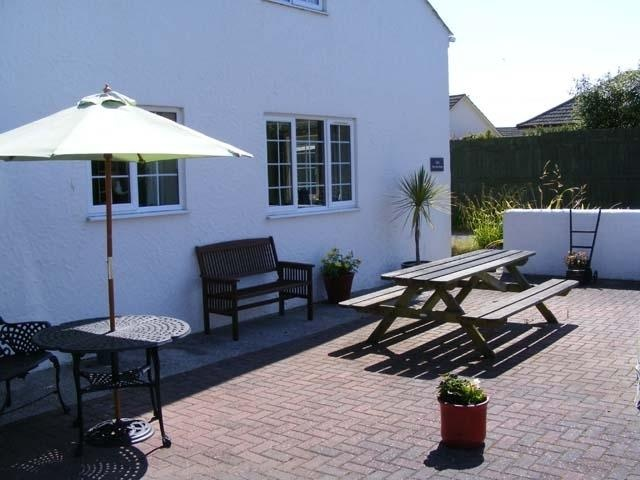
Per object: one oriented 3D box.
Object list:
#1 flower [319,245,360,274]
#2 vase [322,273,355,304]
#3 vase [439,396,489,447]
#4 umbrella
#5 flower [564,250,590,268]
[{"bbox_3d":[0.290,0.380,9.512,0.513,0.369,0.503,-1,5,-28],"label":"flower"},{"bbox_3d":[0.319,0.820,9.271,0.503,0.433,0.529,0,-2,-4],"label":"vase"},{"bbox_3d":[1.180,1.510,4.534,0.440,0.349,0.435,2,-10,-21],"label":"vase"},{"bbox_3d":[-1.584,0.013,5.517,2.706,2.547,2.706,0,1,-18],"label":"umbrella"},{"bbox_3d":[4.990,0.367,10.438,0.346,0.275,0.355,-1,4,23],"label":"flower"}]
